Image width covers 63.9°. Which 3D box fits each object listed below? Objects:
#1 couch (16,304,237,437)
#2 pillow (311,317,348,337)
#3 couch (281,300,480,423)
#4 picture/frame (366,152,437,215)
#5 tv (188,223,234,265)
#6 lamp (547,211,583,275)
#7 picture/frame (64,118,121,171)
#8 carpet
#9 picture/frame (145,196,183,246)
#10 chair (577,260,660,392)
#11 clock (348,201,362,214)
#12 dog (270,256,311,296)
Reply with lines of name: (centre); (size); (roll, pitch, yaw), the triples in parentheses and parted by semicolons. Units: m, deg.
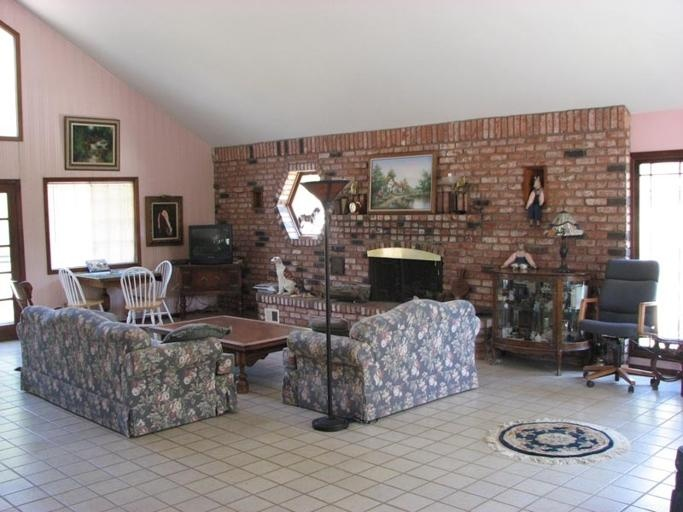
couch: (-1.998, 0.564, 4.960); (2.065, 0.866, 1.198); (4, 7, 42)
pillow: (-0.124, 0.706, 5.499); (0.237, 0.096, 0.288); (2, 1, 7)
couch: (0.248, 0.671, 5.407); (1.799, 0.921, 1.206); (-4, 6, -44)
picture/frame: (0.855, -1.032, 7.826); (1.224, 0.867, 0.094); (7, 13, 43)
tv: (-2.282, -0.197, 9.512); (0.824, 0.645, 0.387); (-1, 0, -5)
lamp: (2.652, -0.193, 6.482); (0.387, 0.711, 0.424); (2, 8, 23)
picture/frame: (-4.019, -1.821, 8.829); (0.077, 0.868, 1.007); (17, 17, 27)
carpet: (1.773, 1.528, 4.499); (1.142, 0.023, 0.742); (0, 6, 5)
picture/frame: (-3.140, -0.635, 9.671); (0.077, 0.908, 0.830); (8, 10, 34)
chair: (3.046, 0.719, 6.007); (0.796, 1.334, 0.906); (2, 8, 22)
clock: (0.188, -0.745, 8.324); (0.193, 0.172, 0.061); (10, 5, 28)
dog: (-0.816, 0.332, 8.966); (0.793, 0.547, 0.274); (10, 7, 6)
